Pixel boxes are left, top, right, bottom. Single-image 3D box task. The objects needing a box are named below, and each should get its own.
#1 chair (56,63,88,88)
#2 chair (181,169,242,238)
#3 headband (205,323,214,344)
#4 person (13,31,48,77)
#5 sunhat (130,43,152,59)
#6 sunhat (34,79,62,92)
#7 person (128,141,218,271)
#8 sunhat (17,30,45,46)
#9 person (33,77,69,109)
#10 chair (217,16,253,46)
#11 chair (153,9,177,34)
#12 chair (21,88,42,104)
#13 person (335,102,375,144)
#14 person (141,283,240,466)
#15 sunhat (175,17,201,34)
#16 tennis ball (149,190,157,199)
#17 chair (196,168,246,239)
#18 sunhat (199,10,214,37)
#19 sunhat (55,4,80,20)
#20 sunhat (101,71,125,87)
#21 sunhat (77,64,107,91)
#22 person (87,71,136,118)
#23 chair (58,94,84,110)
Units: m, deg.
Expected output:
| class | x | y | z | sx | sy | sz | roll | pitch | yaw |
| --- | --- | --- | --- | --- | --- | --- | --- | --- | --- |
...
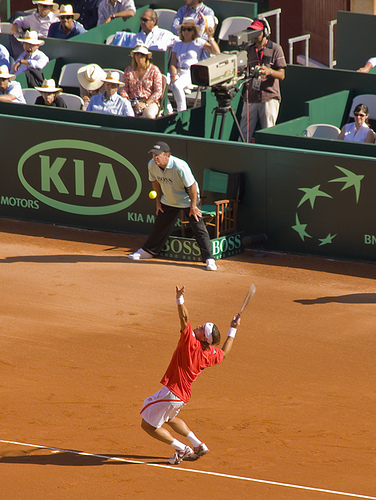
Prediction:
| class | x | y | z | sx | sy | sz | roll | pitch | yaw |
| --- | --- | --- | --- | --- | --- | --- | --- | --- | --- |
| chair | -2.316 | -3.420 | 16.814 | 0.679 | 0.590 | 0.581 | 2 | 22 | 1 |
| chair | 0.312 | -0.598 | 12.036 | 0.774 | 0.953 | 0.719 | 6 | 17 | 15 |
| headband | 0.158 | 0.605 | 6.380 | 0.068 | 0.116 | 0.095 | -2 | 2 | 6 |
| person | -3.124 | -3.796 | 16.758 | 0.747 | 0.923 | 0.579 | 9 | 8 | 9 |
| sunhat | -0.781 | -3.333 | 14.222 | 0.306 | 0.252 | 0.515 | 0 | 4 | -8 |
| sunhat | -2.349 | -2.764 | 14.282 | 0.320 | 0.126 | 0.352 | 0 | 0 | -2 |
| person | -0.192 | -0.557 | 11.315 | 1.121 | 1.660 | 1.314 | 0 | 4 | -8 |
| sunhat | -3.082 | -4.172 | 16.751 | 0.519 | 0.371 | 0.718 | 0 | 4 | -10 |
| person | -2.309 | -2.591 | 14.364 | 0.531 | 0.606 | 2.298 | 0 | 4 | -8 |
| chair | 0.982 | -4.678 | 18.086 | 0.751 | 0.638 | 0.521 | 1 | 4 | 11 |
| chair | -0.482 | -5.087 | 18.909 | 0.597 | 0.674 | 0.593 | 1 | 8 | 2 |
| chair | -2.880 | -2.829 | 15.637 | 0.172 | 0.299 | 0.473 | -3 | 5 | -37 |
| person | 2.645 | -2.001 | 13.439 | 0.586 | 0.644 | 0.996 | 1 | 4 | 9 |
| person | -0.041 | 0.976 | 6.527 | 0.619 | 1.392 | 0.423 | 1 | 5 | 2 |
| sunhat | 0.010 | -4.403 | 16.552 | 0.465 | 0.371 | 0.806 | 1 | 4 | 0 |
| tennis ball | -0.473 | -0.746 | 11.406 | 0.113 | 0.100 | 0.059 | 20 | 7 | 1 |
| chair | 0.303 | -0.622 | 12.057 | 0.702 | 0.919 | 0.674 | 11 | 21 | 29 |
| sunhat | 0.367 | -4.469 | 16.947 | 0.260 | 0.524 | 0.659 | 1 | 4 | 0 |
| sunhat | -2.535 | -4.929 | 17.670 | 0.488 | 0.243 | 0.658 | -1 | 2 | 5 |
| sunhat | -1.215 | -2.850 | 13.960 | 0.426 | 0.208 | 0.573 | 3 | -5 | 4 |
| sunhat | -1.732 | -3.131 | 15.387 | 0.529 | 0.470 | 0.436 | -1 | 4 | -18 |
| person | -1.239 | -2.545 | 13.773 | 0.779 | 0.982 | 2.173 | 0 | 4 | -4 |
| chair | -2.117 | -2.699 | 15.462 | 0.604 | 0.304 | 0.256 | 4 | 6 | 43 |
